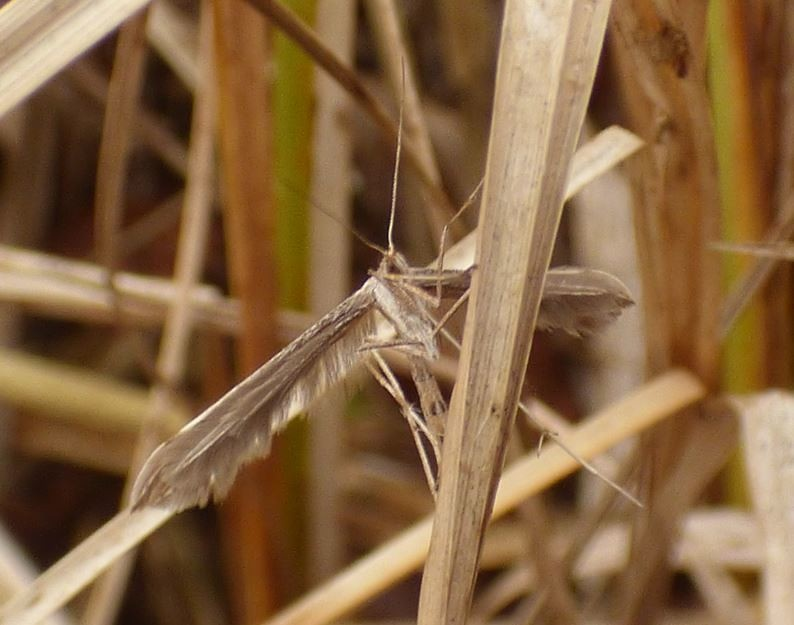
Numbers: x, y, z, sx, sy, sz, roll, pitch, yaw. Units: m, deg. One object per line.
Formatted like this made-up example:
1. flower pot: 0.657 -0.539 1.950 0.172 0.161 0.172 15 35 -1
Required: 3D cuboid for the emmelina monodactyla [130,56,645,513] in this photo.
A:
1. emmelina monodactyla: -0.067 0.056 1.316 0.368 0.183 0.444 -5 -61 -21
